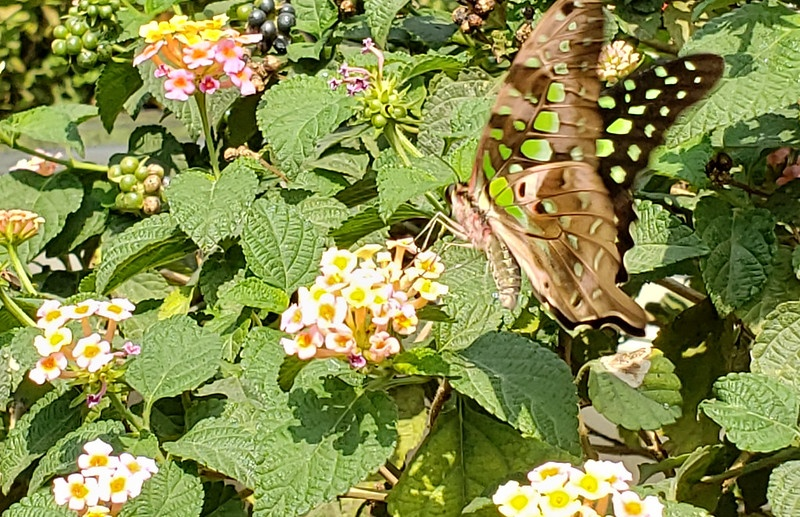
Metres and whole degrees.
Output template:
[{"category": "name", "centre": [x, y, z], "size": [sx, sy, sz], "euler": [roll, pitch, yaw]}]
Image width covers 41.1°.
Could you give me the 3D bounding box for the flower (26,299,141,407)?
[{"category": "flower", "centre": [-0.962, 0.258, 3.422], "size": [0.332, 0.197, 0.350], "euler": [-25, 46, 29]}]

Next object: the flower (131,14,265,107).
[{"category": "flower", "centre": [-0.675, -0.675, 3.667], "size": [0.345, 0.133, 0.333], "euler": [-8, 69, -11]}]

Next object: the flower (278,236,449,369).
[{"category": "flower", "centre": [-0.123, 0.100, 3.286], "size": [0.417, 0.246, 0.441], "euler": [-4, 54, 5]}]
